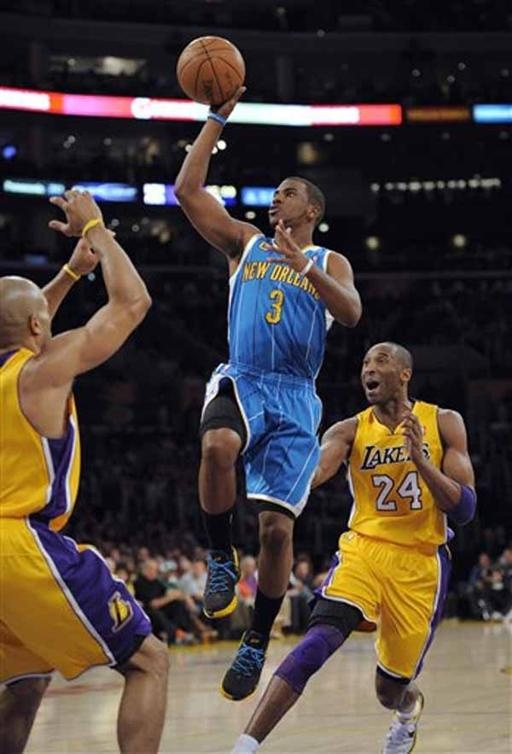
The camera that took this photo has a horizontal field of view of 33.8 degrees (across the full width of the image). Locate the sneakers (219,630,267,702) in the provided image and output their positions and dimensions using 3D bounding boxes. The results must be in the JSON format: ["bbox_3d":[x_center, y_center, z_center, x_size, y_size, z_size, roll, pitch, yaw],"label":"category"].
[{"bbox_3d":[-0.020,1.342,4.012,0.148,0.173,0.403,31,24,-5],"label":"sneakers"}]

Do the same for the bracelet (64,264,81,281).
[{"bbox_3d":[-0.970,-0.551,4.412,0.077,0.028,0.069,40,4,2],"label":"bracelet"}]

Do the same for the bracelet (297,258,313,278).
[{"bbox_3d":[0.231,-0.504,3.878,0.028,0.070,0.068,30,-1,-1],"label":"bracelet"}]

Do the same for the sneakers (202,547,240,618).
[{"bbox_3d":[-0.158,0.943,3.871,0.143,0.159,0.342,0,38,6],"label":"sneakers"}]

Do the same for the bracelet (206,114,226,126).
[{"bbox_3d":[-0.199,-1.310,4.225,0.094,0.042,0.064,30,-1,1],"label":"bracelet"}]

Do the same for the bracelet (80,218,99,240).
[{"bbox_3d":[-0.678,-0.606,3.455,0.022,0.079,0.065,44,0,5],"label":"bracelet"}]

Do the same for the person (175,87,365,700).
[{"bbox_3d":[0.050,0.263,4.172,0.951,3.341,1.129,3,9,-10],"label":"person"}]
